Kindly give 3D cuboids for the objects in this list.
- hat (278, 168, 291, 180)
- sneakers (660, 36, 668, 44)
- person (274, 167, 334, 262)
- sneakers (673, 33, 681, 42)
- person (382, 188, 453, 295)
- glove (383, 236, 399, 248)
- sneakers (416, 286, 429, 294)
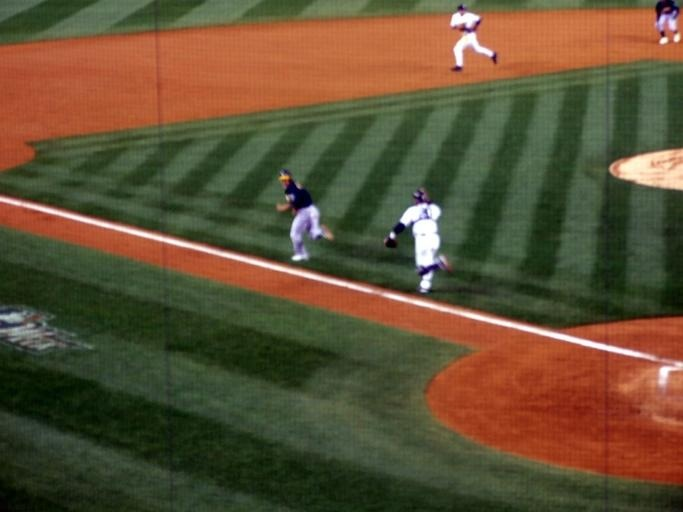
[{"bbox_3d":[-0.924,-1.339,17.910,0.166,0.190,0.310,4,4,-2],"label":"hat"},{"bbox_3d":[7.312,-4.876,24.501,0.162,0.098,0.276,10,30,30],"label":"sneakers"},{"bbox_3d":[-0.614,-0.693,18.303,0.930,1.501,1.116,4,4,-4],"label":"person"},{"bbox_3d":[7.584,-4.915,24.388,0.127,0.215,0.327,1,44,11],"label":"sneakers"},{"bbox_3d":[1.262,-0.246,17.069,0.985,1.609,0.472,5,4,12],"label":"person"},{"bbox_3d":[0.761,-0.225,17.275,0.153,0.085,0.197,-5,18,-24],"label":"glove"},{"bbox_3d":[1.306,0.519,16.945,0.204,0.109,0.149,3,4,-2],"label":"sneakers"}]
